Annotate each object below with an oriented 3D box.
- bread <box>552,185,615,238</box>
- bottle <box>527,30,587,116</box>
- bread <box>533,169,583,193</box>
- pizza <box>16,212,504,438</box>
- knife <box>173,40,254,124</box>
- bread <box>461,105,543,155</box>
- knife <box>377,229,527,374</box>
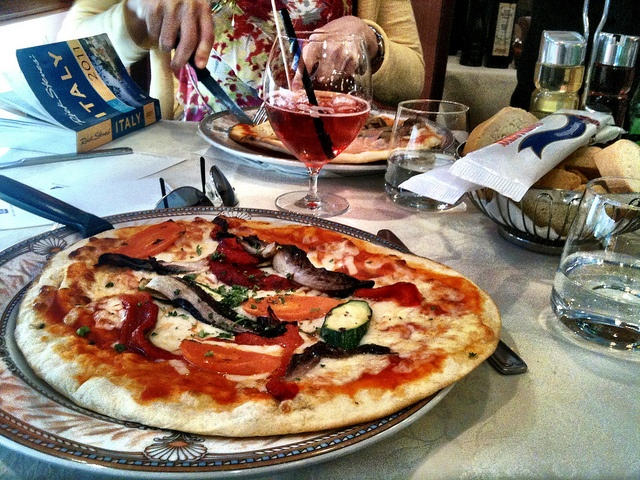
[{"bbox_3d":[0.530,-0.065,1.159,0.138,0.102,0.108,-5,21,-3],"label":"bread"},{"bbox_3d":[0.641,-0.443,1.420,0.131,0.229,0.271,8,34,18],"label":"bottle"},{"bbox_3d":[0.533,-0.134,1.182,0.093,0.019,0.078,15,43,34],"label":"bread"},{"bbox_3d":[-0.123,0.134,0.868,0.615,0.046,0.395,5,16,7],"label":"pizza"},{"bbox_3d":[-0.457,-0.602,1.899,0.091,0.049,0.587,-35,62,-31],"label":"knife"},{"bbox_3d":[0.430,-0.274,1.337,0.202,0.144,0.051,-22,15,-25],"label":"bread"},{"bbox_3d":[0.190,0.082,1.093,0.092,0.041,0.537,-44,54,-4],"label":"knife"}]
